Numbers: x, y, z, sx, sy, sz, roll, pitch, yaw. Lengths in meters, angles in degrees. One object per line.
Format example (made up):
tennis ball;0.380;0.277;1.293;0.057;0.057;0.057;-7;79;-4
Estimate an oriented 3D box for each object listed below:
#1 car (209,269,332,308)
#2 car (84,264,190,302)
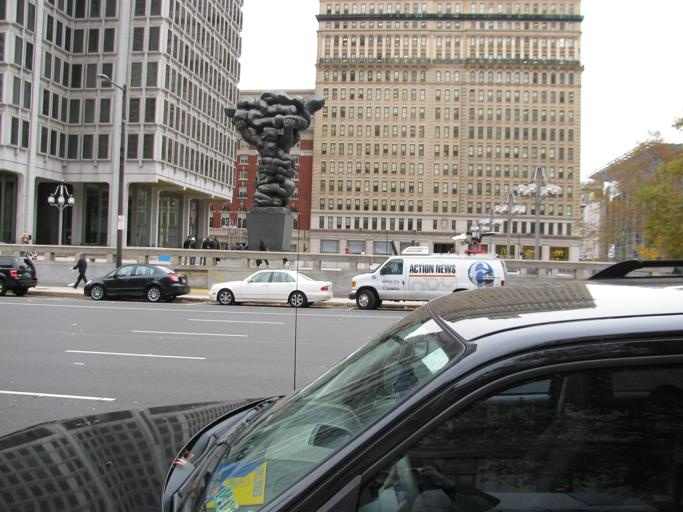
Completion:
car;-4.798;2.432;68.070;8.772;2.616;3.072;0;0;11
car;-14.048;1.859;69.776;6.441;2.057;2.822;2;-4;2
